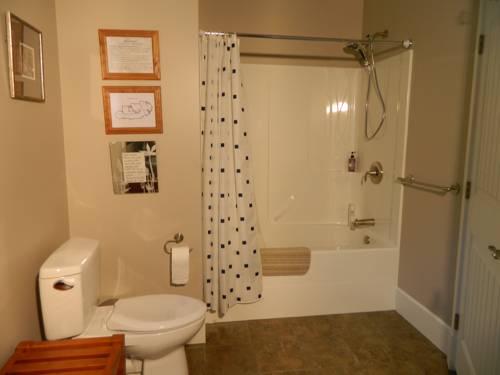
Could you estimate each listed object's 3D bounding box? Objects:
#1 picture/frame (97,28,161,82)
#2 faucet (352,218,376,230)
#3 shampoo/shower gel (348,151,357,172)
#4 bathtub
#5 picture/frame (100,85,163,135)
[{"bbox_3d":[-0.872,-0.941,2.809,0.316,0.314,0.026,-1,10,-6],"label":"picture/frame"},{"bbox_3d":[1.103,0.345,3.895,0.144,0.071,0.112,-2,6,0],"label":"faucet"},{"bbox_3d":[1.060,-0.263,4.136,0.077,0.214,0.099,6,12,33],"label":"shampoo/shower gel"},{"bbox_3d":[0.434,0.699,3.796,1.696,0.713,0.795,-2,10,-6],"label":"bathtub"},{"bbox_3d":[-0.867,-0.562,2.854,0.301,0.298,0.023,-1,12,-7],"label":"picture/frame"}]
